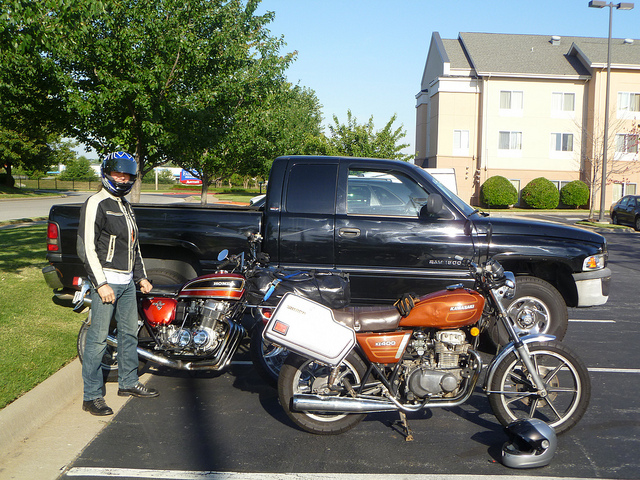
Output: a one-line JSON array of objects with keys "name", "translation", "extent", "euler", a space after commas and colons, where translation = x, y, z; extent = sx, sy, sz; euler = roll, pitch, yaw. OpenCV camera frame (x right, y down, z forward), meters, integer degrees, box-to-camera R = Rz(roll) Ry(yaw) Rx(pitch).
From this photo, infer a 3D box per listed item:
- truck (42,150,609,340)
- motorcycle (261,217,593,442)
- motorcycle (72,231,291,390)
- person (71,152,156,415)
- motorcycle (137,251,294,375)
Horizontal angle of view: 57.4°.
[{"name": "truck", "translation": [-0.065, -0.004, 7.539], "extent": [7.964, 2.551, 2.937], "euler": [0, 3, -1]}, {"name": "motorcycle", "translation": [0.998, 1.073, 6.524], "extent": [3.221, 1.897, 1.637], "euler": [-2, 0, -5]}, {"name": "motorcycle", "translation": [-1.412, 0.798, 6.650], "extent": [2.800, 1.568, 1.203], "euler": [1, -8, 5]}, {"name": "person", "translation": [-2.332, 0.401, 6.509], "extent": [0.860, 2.736, 1.326], "euler": [-3, 10, -19]}, {"name": "motorcycle", "translation": [-1.193, 0.837, 6.317], "extent": [2.421, 1.182, 1.043], "euler": [0, -3, 6]}]
